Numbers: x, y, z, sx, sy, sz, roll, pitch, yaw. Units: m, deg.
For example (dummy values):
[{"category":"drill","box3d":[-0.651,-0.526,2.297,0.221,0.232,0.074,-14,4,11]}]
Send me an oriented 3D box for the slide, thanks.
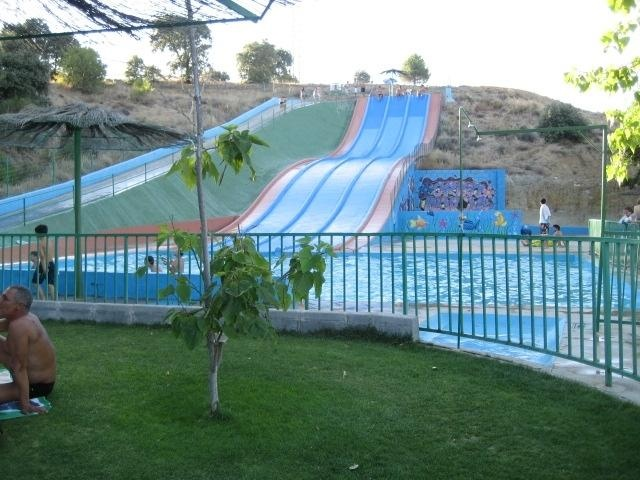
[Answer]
[{"category":"slide","box3d":[1.394,-3.197,33.590,13.117,8.168,9.251,-3,11,-11]}]
